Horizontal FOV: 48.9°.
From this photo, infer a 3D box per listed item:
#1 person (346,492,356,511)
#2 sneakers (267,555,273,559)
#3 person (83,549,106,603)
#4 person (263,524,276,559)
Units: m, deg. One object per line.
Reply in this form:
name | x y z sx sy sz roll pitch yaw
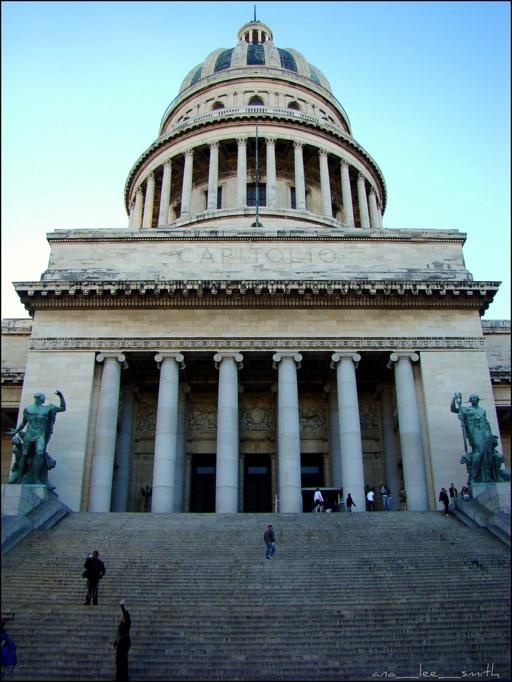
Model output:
person | 3.605 6.215 21.479 0.359 0.518 0.966 -1 -4 9
sneakers | 0.335 5.182 13.420 0.058 0.109 0.108 7 -13 -21
person | -3.128 4.619 10.786 0.365 0.868 0.537 0 -4 -15
person | 0.333 4.880 13.692 0.249 0.697 0.725 -1 -4 2
